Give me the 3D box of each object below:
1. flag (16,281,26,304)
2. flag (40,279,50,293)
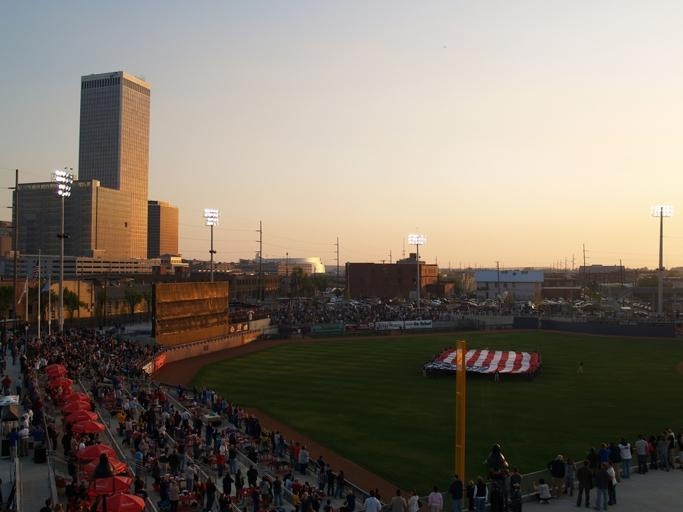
[{"bbox_3d":[-37.865,4.332,83.848,0.752,2.541,6.778,2,-3,-24],"label":"flag"},{"bbox_3d":[-35.521,3.656,84.945,1.632,1.723,0.141,6,6,21],"label":"flag"}]
